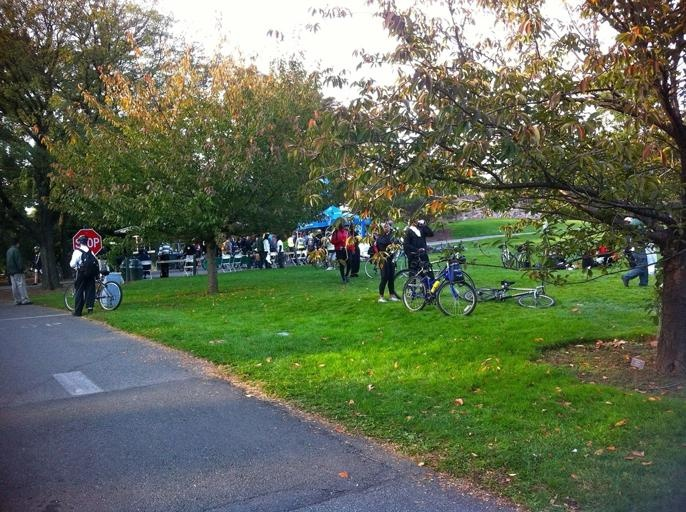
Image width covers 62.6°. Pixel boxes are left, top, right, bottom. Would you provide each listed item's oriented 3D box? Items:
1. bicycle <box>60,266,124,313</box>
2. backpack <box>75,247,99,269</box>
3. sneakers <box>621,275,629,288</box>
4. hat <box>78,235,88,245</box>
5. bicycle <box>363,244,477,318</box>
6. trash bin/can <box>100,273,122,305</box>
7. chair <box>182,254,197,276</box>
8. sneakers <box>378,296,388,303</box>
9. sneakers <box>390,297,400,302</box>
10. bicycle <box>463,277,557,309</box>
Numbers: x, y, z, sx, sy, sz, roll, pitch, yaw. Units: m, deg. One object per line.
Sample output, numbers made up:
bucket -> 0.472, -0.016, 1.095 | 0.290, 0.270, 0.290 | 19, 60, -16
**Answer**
bicycle -> -7.136, 0.989, 16.274 | 2.105, 1.493, 1.111 | 2, 1, 28
backpack -> -7.025, 0.062, 15.306 | 0.726, 0.549, 0.440 | -1, 5, 18
sneakers -> 7.900, 0.701, 15.696 | 0.172, 0.340, 0.163 | -5, 0, -2
hat -> -7.104, -0.439, 15.333 | 0.182, 0.244, 0.249 | 1, -8, -5
bicycle -> 2.016, 0.549, 12.874 | 2.366, 1.707, 1.268 | -2, 1, 40
trash bin/can -> -6.583, 0.980, 15.915 | 0.581, 1.036, 0.940 | -6, 6, -39
chair -> -9.100, 0.548, 33.562 | 0.667, 1.192, 3.073 | -4, 5, -16
sneakers -> 1.054, 1.131, 14.776 | 0.266, 0.217, 0.098 | -2, 10, 8
sneakers -> 1.399, 1.155, 14.966 | 0.104, 0.126, 0.258 | -7, 2, -43
bicycle -> 4.086, 0.970, 13.378 | 1.652, 0.967, 1.078 | -2, 10, -19
